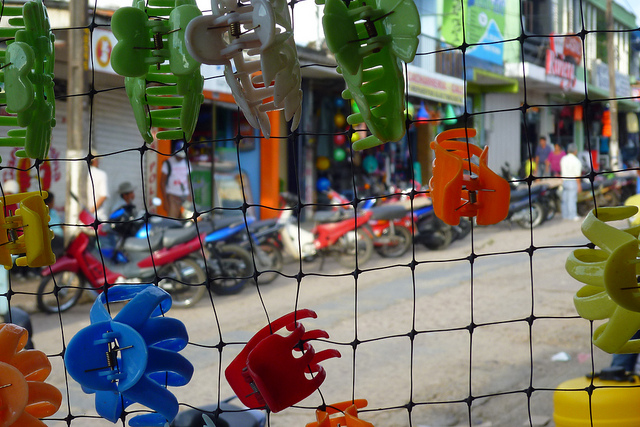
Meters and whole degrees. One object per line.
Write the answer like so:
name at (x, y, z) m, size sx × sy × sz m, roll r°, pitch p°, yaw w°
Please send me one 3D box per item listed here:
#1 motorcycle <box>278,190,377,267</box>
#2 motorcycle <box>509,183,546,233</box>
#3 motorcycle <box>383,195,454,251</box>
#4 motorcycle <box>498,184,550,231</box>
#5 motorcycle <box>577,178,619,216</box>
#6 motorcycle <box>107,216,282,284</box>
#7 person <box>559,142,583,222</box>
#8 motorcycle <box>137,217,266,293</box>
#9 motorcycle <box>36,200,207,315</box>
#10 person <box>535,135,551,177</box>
motorcycle at (-0.085, 0.242, 18.169) m, size 1.682 × 1.307 × 0.783 m, roll -1°, pitch 6°, yaw 2°
motorcycle at (3.568, -0.117, 20.860) m, size 0.613 × 0.816 × 1.499 m, roll -1°, pitch 5°, yaw 9°
motorcycle at (1.620, 0.166, 18.732) m, size 1.095 × 0.840 × 0.633 m, roll -14°, pitch 6°, yaw -20°
motorcycle at (3.167, -0.105, 18.799) m, size 0.974 × 0.718 × 0.539 m, roll -11°, pitch 3°, yaw -3°
motorcycle at (4.510, -0.287, 19.793) m, size 0.859 × 0.636 × 0.482 m, roll -9°, pitch 3°, yaw -6°
motorcycle at (-1.657, 0.515, 17.056) m, size 2.062 × 1.532 × 1.166 m, roll 1°, pitch 4°, yaw -6°
person at (4.469, -0.557, 21.577) m, size 0.417 × 1.377 × 2.512 m, roll 0°, pitch 5°, yaw 11°
motorcycle at (-1.581, 0.646, 16.826) m, size 1.619 × 1.265 × 1.013 m, roll 0°, pitch 3°, yaw -8°
motorcycle at (-2.655, 0.587, 17.109) m, size 2.398 × 1.862 × 1.266 m, roll 0°, pitch -13°, yaw -7°
person at (4.197, -1.079, 22.853) m, size 0.298 × 0.728 × 1.753 m, roll 0°, pitch 6°, yaw 11°
